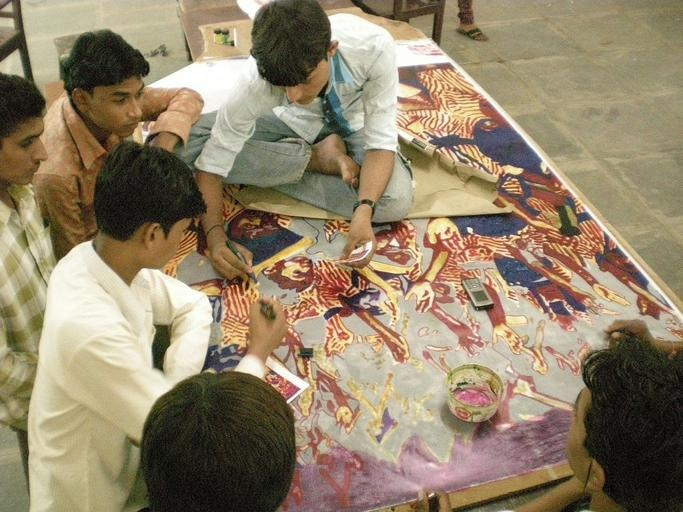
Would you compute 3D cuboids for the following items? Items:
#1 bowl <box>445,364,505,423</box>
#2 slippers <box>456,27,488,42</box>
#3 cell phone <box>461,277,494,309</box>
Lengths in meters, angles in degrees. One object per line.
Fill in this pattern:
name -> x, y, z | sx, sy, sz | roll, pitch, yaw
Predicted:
bowl -> 0.561, 0.586, 2.554 | 0.235, 0.146, 0.212 | 10, 42, 16
slippers -> 1.331, -2.280, 6.115 | 0.297, 0.089, 0.128 | 33, 63, 34
cell phone -> 0.676, 0.184, 2.947 | 0.091, 0.056, 0.160 | -10, 50, -10
